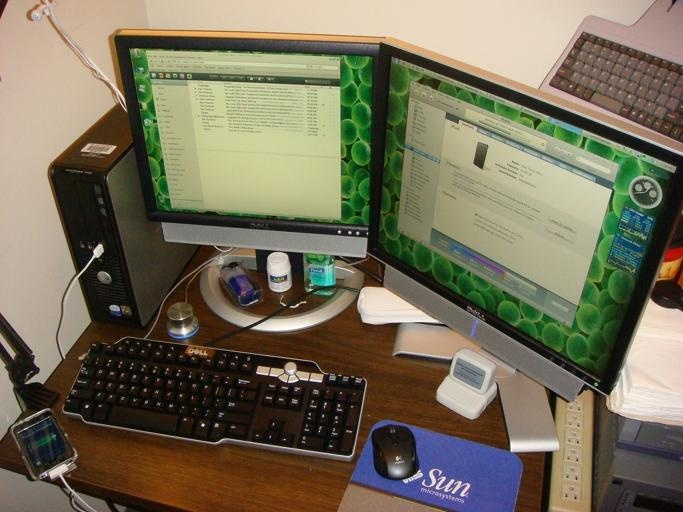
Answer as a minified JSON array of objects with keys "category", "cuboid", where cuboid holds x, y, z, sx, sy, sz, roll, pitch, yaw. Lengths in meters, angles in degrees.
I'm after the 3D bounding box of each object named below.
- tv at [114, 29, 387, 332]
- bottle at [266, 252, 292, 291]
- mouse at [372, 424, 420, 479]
[{"category":"tv","cuboid":[-0.204,-0.169,1.171,0.693,0.660,0.121,4,32,8]},{"category":"bottle","cuboid":[-0.154,0.039,1.328,0.061,0.085,0.061,0,32,0]},{"category":"mouse","cuboid":[0.100,0.363,1.016,0.077,0.038,0.134,0,26,-7]}]
